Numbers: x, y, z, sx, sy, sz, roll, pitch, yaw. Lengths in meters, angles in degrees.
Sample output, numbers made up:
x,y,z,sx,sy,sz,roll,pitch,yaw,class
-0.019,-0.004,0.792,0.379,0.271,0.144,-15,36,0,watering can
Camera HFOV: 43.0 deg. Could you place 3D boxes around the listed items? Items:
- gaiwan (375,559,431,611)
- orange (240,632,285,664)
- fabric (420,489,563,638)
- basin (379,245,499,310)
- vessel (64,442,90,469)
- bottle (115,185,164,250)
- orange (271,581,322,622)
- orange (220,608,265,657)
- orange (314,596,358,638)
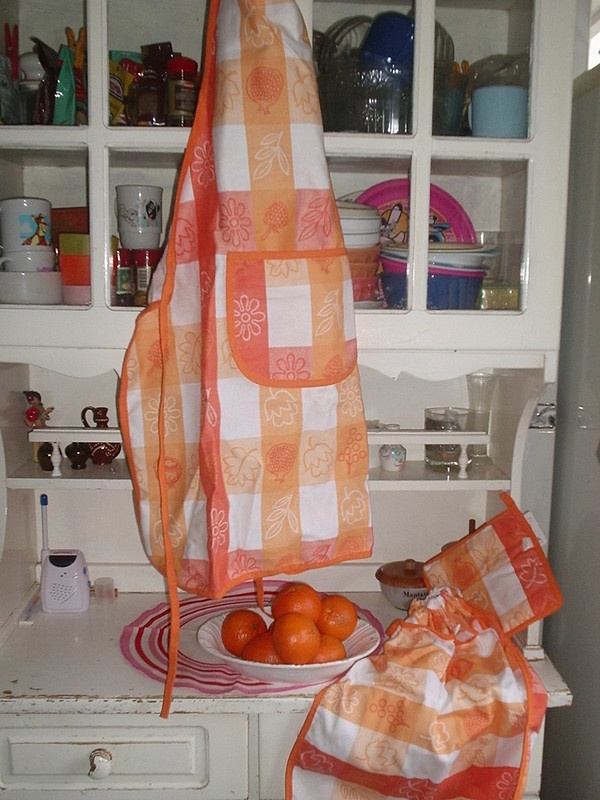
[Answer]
x,y,z,sx,sy,sz,roll,pitch,yaw,class
0.200,0.364,1.464,0.100,0.063,0.096,3,2,-7,gaiwan
-0.065,0.381,1.179,0.044,0.038,0.040,-2,3,1,orange
0.318,0.299,1.301,0.202,0.021,0.195,-34,39,16,fabric
0.233,-0.193,1.224,0.143,0.063,0.113,5,11,31,basin
-0.413,0.107,1.436,0.053,0.058,0.050,-1,-5,-2,vessel
-0.258,-0.296,1.246,0.077,0.090,0.092,-5,13,-30,bottle
-0.006,0.329,1.246,0.070,0.059,0.062,-5,-6,-6,orange
-0.093,0.378,1.239,0.070,0.061,0.064,0,1,-2,orange
0.058,0.357,1.279,0.071,0.061,0.067,-3,0,1,orange
